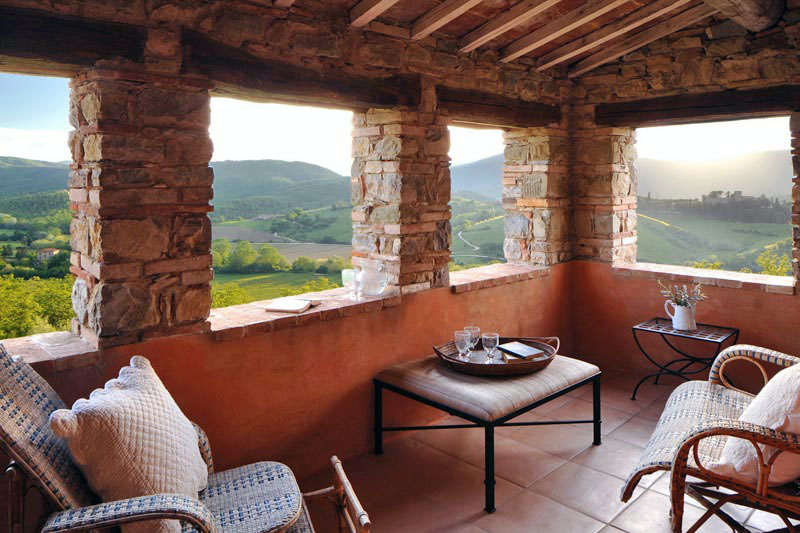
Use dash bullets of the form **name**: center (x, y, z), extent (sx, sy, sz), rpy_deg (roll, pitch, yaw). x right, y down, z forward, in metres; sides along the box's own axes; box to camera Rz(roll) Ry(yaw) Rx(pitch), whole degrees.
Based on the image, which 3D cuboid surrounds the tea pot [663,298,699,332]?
- **tea pot**: center (2.667, 0.464, 5.178), extent (0.369, 0.272, 0.237), rpy_deg (1, 4, 34)

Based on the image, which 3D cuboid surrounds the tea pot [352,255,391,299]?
- **tea pot**: center (-0.341, 0.083, 4.507), extent (0.350, 0.298, 0.512), rpy_deg (-7, 12, -36)

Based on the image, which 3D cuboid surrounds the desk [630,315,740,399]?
- **desk**: center (2.727, 0.922, 5.106), extent (0.514, 0.625, 0.798), rpy_deg (-11, 9, -44)

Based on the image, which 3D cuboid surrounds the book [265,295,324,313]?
- **book**: center (-0.817, 0.286, 4.115), extent (0.384, 0.057, 0.403), rpy_deg (1, 9, 4)

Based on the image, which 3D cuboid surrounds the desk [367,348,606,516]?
- **desk**: center (0.749, 1.141, 4.379), extent (1.455, 0.608, 1.682), rpy_deg (5, 8, 33)

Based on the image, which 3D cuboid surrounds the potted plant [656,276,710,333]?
- **potted plant**: center (2.725, 0.374, 5.141), extent (0.557, 0.532, 0.454), rpy_deg (-2, -1, 35)
